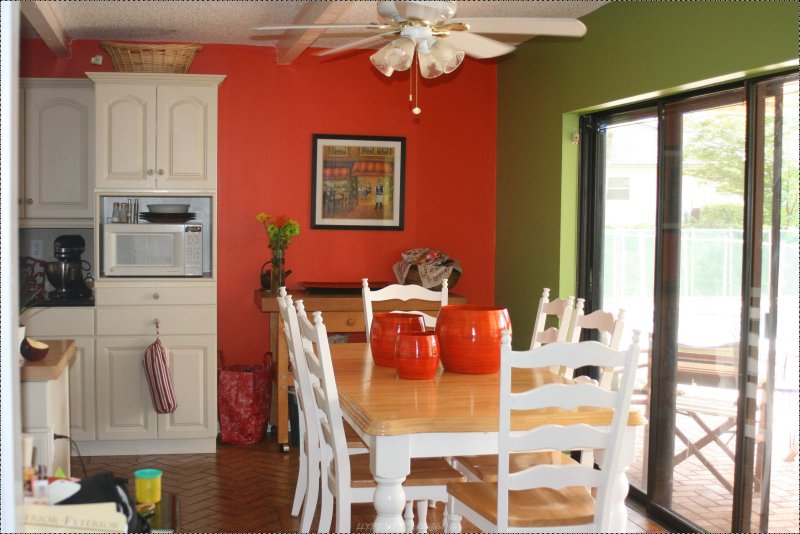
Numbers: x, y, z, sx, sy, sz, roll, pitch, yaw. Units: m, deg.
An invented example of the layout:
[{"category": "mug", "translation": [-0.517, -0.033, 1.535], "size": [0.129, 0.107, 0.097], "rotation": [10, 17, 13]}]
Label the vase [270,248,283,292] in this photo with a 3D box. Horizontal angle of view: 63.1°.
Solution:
[{"category": "vase", "translation": [-1.002, 0.020, 5.262], "size": [0.096, 0.340, 0.159], "rotation": [-1, 9, -11]}]

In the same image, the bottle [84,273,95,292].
[{"category": "bottle", "translation": [-2.576, 0.135, 5.367], "size": [0.125, 0.154, 0.065], "rotation": [0, 1, -1]}]

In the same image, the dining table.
[{"category": "dining table", "translation": [0.229, 0.583, 3.044], "size": [0.941, 0.491, 1.175], "rotation": [1, -1, -11]}]

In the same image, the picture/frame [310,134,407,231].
[{"category": "picture/frame", "translation": [-0.409, -0.775, 5.740], "size": [0.962, 0.854, 0.231], "rotation": [1, 0, -13]}]

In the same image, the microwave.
[{"category": "microwave", "translation": [-1.916, -0.116, 4.990], "size": [0.775, 0.440, 0.426], "rotation": [0, -4, -15]}]

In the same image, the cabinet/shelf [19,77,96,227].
[{"category": "cabinet/shelf", "translation": [-2.717, -0.900, 5.137], "size": [0.531, 1.128, 0.162], "rotation": [1, 9, -3]}]

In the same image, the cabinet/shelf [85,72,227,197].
[{"category": "cabinet/shelf", "translation": [-1.900, -1.022, 4.971], "size": [1.151, 0.953, 0.456], "rotation": [0, 0, -10]}]

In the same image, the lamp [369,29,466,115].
[{"category": "lamp", "translation": [0.081, -0.961, 3.213], "size": [0.446, 0.383, 0.253], "rotation": [1, 8, -3]}]

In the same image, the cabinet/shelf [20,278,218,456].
[{"category": "cabinet/shelf", "translation": [-1.982, 0.710, 4.610], "size": [1.513, 1.225, 0.509], "rotation": [-1, -1, -7]}]

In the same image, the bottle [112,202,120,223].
[{"category": "bottle", "translation": [-2.285, -0.438, 5.222], "size": [0.051, 0.152, 0.218], "rotation": [-3, 9, -28]}]

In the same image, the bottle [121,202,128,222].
[{"category": "bottle", "translation": [-2.221, -0.441, 5.223], "size": [0.061, 0.150, 0.234], "rotation": [-2, 8, -21]}]

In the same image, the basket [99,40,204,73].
[{"category": "basket", "translation": [-1.934, -1.614, 5.031], "size": [0.741, 0.243, 0.135], "rotation": [-1, 8, -12]}]

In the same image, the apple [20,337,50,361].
[{"category": "apple", "translation": [-1.863, 0.408, 3.296], "size": [0.119, 0.092, 0.131], "rotation": [18, 5, -6]}]

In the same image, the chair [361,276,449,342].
[{"category": "chair", "translation": [-0.015, 0.272, 4.565], "size": [0.505, 0.761, 0.492], "rotation": [1, 0, -13]}]

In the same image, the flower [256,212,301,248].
[{"category": "flower", "translation": [-0.986, -0.294, 5.347], "size": [0.328, 0.298, 0.315], "rotation": [6, 9, -34]}]

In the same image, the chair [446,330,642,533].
[{"category": "chair", "translation": [0.645, 0.701, 2.940], "size": [0.797, 0.937, 0.584], "rotation": [1, 8, -2]}]
